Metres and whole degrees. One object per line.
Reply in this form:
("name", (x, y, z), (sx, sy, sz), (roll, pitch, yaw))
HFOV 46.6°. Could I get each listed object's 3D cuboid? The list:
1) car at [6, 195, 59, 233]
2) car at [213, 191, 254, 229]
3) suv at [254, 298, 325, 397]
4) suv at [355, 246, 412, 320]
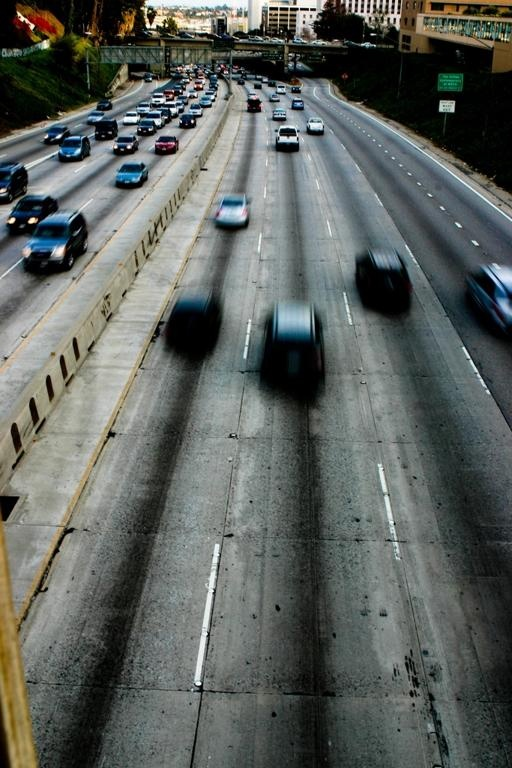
("car", (-12.996, -10.037, 35.051), (1.883, 1.842, 4.294), (4, 34, 4))
("car", (-1.416, -10.339, 36.262), (1.784, 1.334, 2.390), (4, 31, 6))
("suv", (1.287, -1.415, 20.310), (1.696, 1.723, 3.467), (2, 51, 3))
("suv", (5.666, -4.437, 26.136), (2.076, 1.453, 3.574), (-2, 31, -4))
